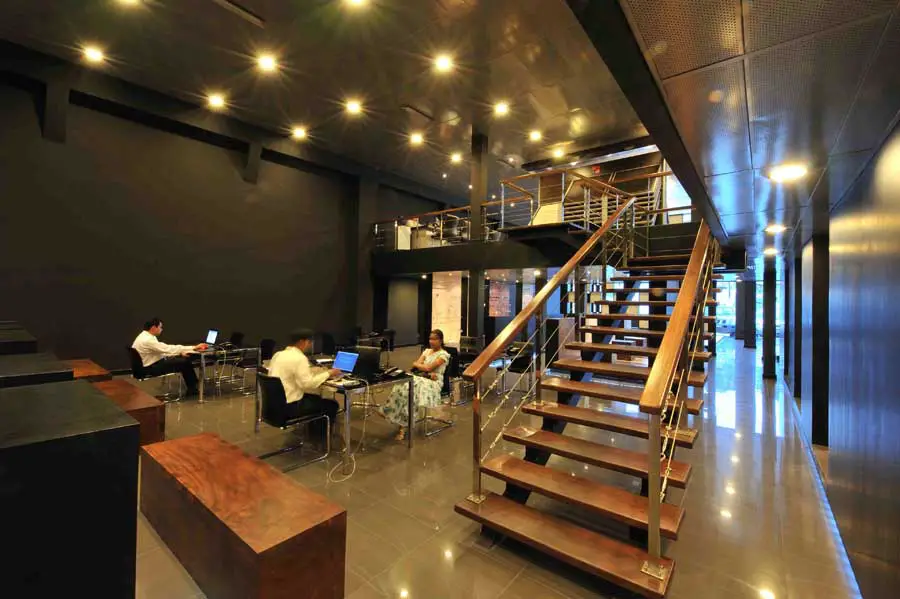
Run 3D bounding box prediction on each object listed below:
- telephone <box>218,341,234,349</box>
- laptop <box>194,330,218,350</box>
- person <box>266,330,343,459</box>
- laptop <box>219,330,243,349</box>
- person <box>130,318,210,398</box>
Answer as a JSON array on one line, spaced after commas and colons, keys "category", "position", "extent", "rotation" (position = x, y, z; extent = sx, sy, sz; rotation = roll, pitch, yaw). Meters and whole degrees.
[{"category": "telephone", "position": [-3.861, 0.777, 9.984], "extent": [0.220, 0.099, 0.304], "rotation": [1, 1, 4]}, {"category": "laptop", "position": [-4.098, 0.690, 9.646], "extent": [0.468, 0.394, 0.352], "rotation": [3, -2, 43]}, {"category": "person", "position": [-1.887, 1.165, 7.256], "extent": [0.808, 1.591, 0.929], "rotation": [6, 6, 37]}, {"category": "laptop", "position": [-4.064, 0.737, 10.672], "extent": [0.239, 0.345, 0.227], "rotation": [-2, -7, 26]}, {"category": "person", "position": [-4.415, 0.938, 9.053], "extent": [0.831, 1.287, 1.064], "rotation": [-3, 1, 45]}]
